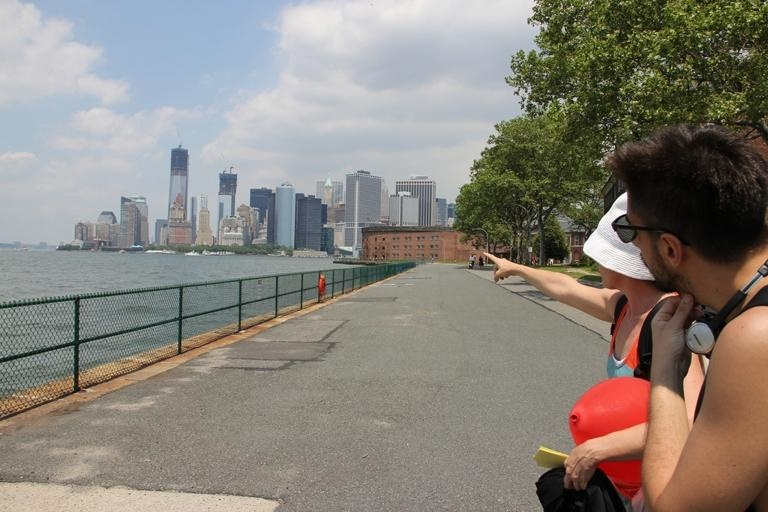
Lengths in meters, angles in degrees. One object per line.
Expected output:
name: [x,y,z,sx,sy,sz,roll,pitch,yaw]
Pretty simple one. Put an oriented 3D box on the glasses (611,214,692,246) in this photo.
glasses: [1.110,-0.110,2.640,0.192,0.059,0.187,17,9,32]
